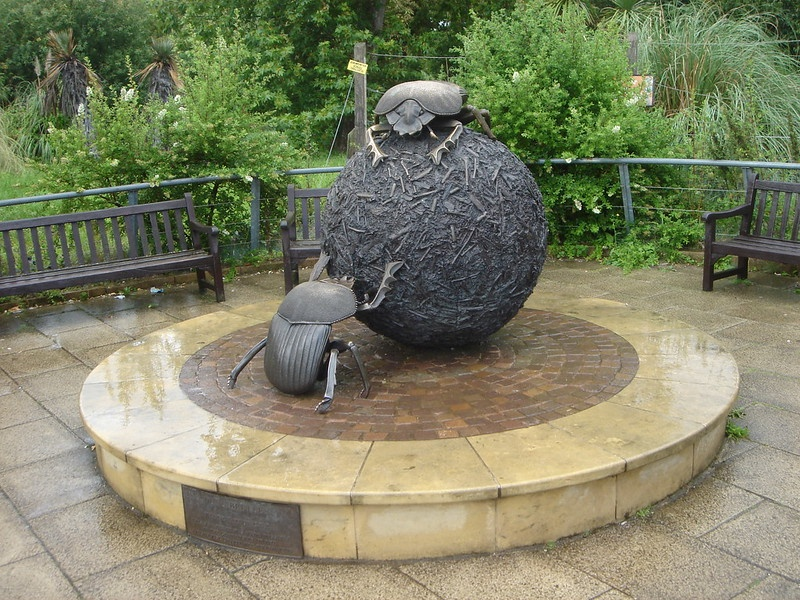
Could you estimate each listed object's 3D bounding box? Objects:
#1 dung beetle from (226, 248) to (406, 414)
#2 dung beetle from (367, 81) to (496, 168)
[{"bbox_3d":[-0.680,0.205,4.654,1.092,0.990,0.705,8,16,33],"label":"dung beetle"},{"bbox_3d":[0.214,-1.509,4.857,0.789,0.369,0.823,5,31,19],"label":"dung beetle"}]
